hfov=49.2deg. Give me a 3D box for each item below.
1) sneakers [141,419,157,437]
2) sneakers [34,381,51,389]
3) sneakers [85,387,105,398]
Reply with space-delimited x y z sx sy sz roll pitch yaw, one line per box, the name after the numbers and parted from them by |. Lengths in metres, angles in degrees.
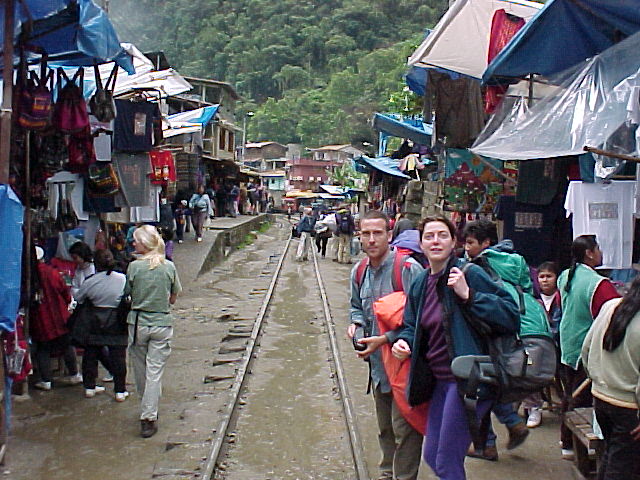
-1.987 2.185 8.082 0.091 0.202 0.284 2 5 7 | sneakers
-3.739 1.975 9.401 0.234 0.103 0.087 5 4 30 | sneakers
-3.019 2.028 9.292 0.084 0.109 0.261 2 3 14 | sneakers
